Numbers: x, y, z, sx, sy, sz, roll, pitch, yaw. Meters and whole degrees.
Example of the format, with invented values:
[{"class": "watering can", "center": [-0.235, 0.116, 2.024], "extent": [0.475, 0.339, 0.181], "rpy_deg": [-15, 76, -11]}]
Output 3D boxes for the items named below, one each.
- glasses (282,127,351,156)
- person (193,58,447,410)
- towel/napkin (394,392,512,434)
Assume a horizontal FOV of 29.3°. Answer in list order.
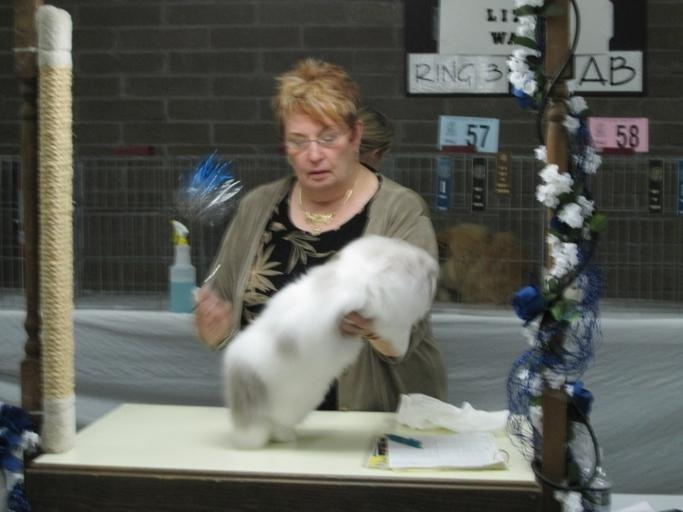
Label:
[{"class": "glasses", "center": [-0.052, -0.237, 2.730], "extent": [0.126, 0.046, 0.016], "rpy_deg": [1, 5, 5]}, {"class": "person", "center": [-0.065, 0.064, 2.820], "extent": [0.488, 0.935, 0.546], "rpy_deg": [5, 15, 15]}, {"class": "towel/napkin", "center": [0.221, 0.334, 2.832], "extent": [0.282, 0.101, 0.090], "rpy_deg": [2, 17, -2]}]
